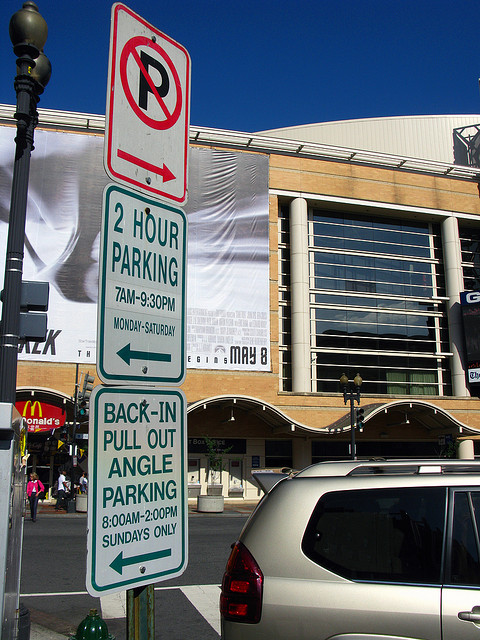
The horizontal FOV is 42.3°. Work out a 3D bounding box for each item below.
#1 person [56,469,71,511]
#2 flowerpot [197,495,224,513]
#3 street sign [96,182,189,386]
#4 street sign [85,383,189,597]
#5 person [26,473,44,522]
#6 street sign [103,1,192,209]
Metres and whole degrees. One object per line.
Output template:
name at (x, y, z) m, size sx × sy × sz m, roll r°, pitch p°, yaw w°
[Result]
person at (-7.295, 7.037, 25.569) m, size 0.468 × 1.436 × 3.052 m, roll 2°, pitch -13°, yaw -16°
flowerpot at (-1.186, 7.351, 24.796) m, size 0.698 × 0.469 × 0.765 m, roll -1°, pitch -16°, yaw 3°
street sign at (-0.360, -0.135, 2.427) m, size 0.081 × 0.799 × 0.525 m, roll -9°, pitch -14°, yaw 36°
street sign at (-0.376, 0.610, 2.312) m, size 0.120 × 0.738 × 0.566 m, roll -9°, pitch -14°, yaw 35°
person at (-6.820, 5.872, 20.587) m, size 0.456 × 1.382 × 2.673 m, roll 3°, pitch -13°, yaw -17°
street sign at (-0.348, -0.881, 2.589) m, size 0.171 × 0.761 × 0.521 m, roll -10°, pitch -15°, yaw 39°
